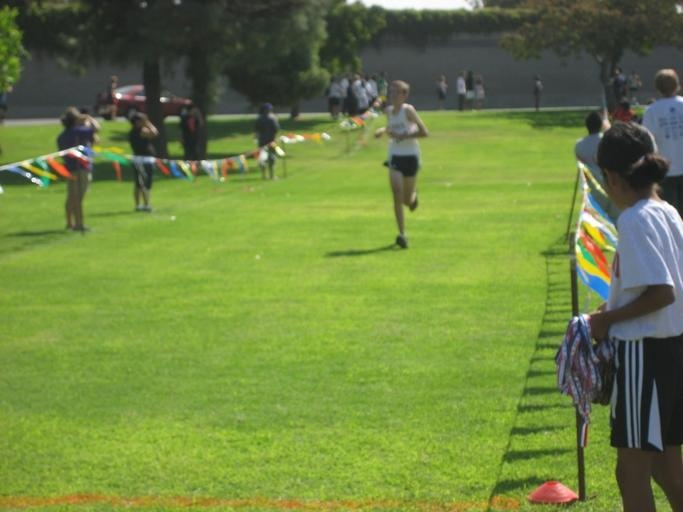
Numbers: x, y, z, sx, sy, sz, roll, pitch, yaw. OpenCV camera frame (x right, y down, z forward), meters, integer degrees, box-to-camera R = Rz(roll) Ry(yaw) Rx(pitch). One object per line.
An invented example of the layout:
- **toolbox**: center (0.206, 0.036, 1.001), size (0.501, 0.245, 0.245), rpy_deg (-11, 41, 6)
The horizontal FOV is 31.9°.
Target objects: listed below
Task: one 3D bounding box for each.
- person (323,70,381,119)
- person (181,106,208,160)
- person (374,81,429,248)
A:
- **person**: center (0.285, -5.336, 38.972), size (0.840, 1.366, 3.005), rpy_deg (-2, 16, 8)
- **person**: center (-3.654, -3.085, 29.738), size (0.575, 1.324, 1.877), rpy_deg (-3, 8, -7)
- **person**: center (0.833, -1.291, 16.544), size (0.631, 2.332, 1.329), rpy_deg (-2, 7, 2)
